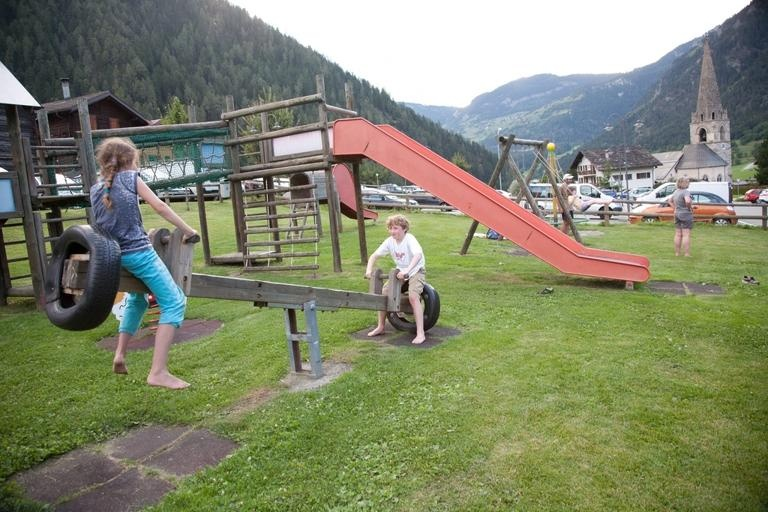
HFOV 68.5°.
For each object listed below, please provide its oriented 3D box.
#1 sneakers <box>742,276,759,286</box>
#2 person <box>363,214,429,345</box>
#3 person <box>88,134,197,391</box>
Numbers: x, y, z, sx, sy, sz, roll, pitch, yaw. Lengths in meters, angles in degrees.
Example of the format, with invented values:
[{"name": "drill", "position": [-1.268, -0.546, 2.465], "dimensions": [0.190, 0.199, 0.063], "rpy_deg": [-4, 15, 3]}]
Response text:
[{"name": "sneakers", "position": [7.454, 0.496, 11.517], "dimensions": [0.137, 0.178, 0.417], "rpy_deg": [-2, 0, -2]}, {"name": "person", "position": [0.247, 0.345, 8.858], "dimensions": [0.744, 1.954, 0.678], "rpy_deg": [-2, 9, 14]}, {"name": "person", "position": [-3.014, 0.179, 6.971], "dimensions": [0.942, 3.312, 1.263], "rpy_deg": [-12, 11, -42]}]
